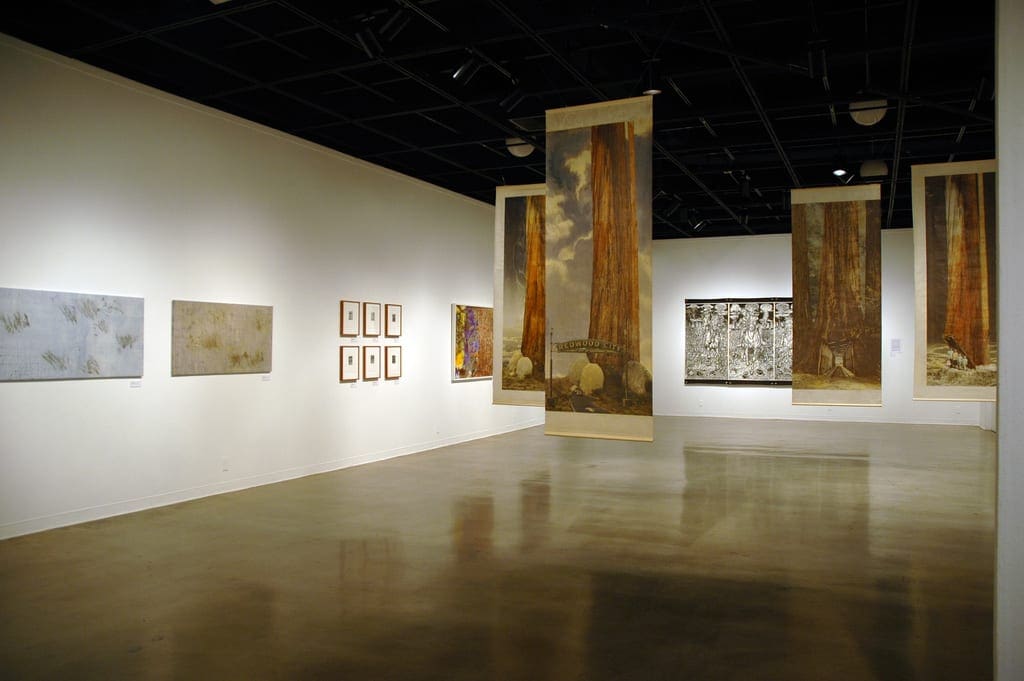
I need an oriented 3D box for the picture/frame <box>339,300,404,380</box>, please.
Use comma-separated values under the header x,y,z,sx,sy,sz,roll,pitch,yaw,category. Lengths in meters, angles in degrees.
x,y,z,sx,sy,sz,roll,pitch,yaw,category
-3.194,0.046,15.557,0.317,1.865,1.958,2,3,28,picture/frame
